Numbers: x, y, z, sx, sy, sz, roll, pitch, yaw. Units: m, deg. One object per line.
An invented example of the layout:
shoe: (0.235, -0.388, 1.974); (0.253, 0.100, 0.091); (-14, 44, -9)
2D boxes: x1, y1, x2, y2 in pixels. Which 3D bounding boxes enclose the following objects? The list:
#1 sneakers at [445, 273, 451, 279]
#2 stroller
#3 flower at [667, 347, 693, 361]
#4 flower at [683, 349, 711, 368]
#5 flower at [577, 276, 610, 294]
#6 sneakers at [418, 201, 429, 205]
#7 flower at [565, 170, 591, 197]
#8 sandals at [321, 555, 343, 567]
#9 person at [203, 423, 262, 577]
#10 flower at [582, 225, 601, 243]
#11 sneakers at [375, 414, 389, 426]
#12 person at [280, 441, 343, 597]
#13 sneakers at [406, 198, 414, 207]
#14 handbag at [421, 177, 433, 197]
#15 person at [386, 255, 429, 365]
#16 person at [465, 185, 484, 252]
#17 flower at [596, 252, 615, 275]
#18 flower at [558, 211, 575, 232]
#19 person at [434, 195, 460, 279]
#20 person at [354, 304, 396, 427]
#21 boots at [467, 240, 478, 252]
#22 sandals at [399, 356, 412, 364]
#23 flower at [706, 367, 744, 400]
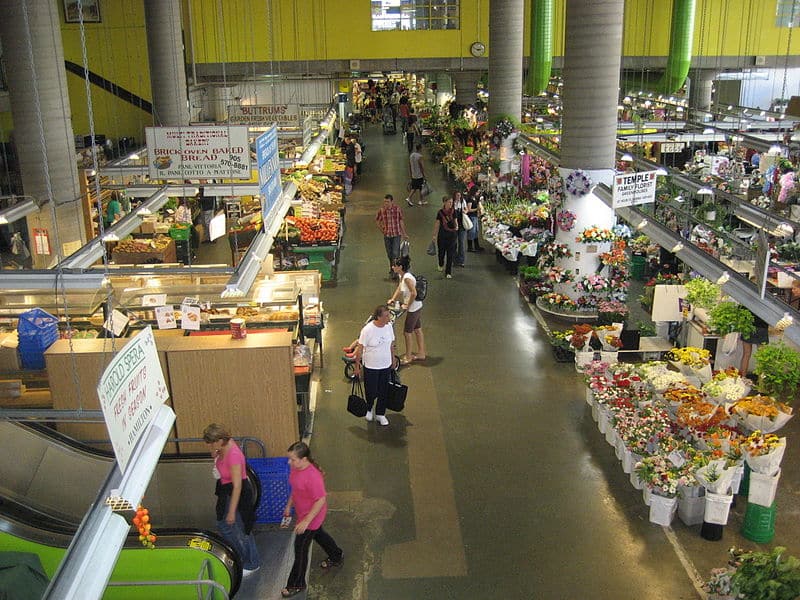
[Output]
sneakers: (1.023, -0.503, 12.487); (0.107, 0.088, 0.200); (-1, 0, 4)
stroller: (-0.553, 0.567, 8.142); (1.122, 1.327, 0.737); (-1, 13, -6)
flower: (3.596, 0.692, 7.462); (0.228, 0.153, 0.238); (4, 10, 38)
flower: (3.610, 0.694, 7.101); (0.271, 0.179, 0.260); (-2, 13, -20)
flower: (3.403, -0.289, 10.269); (0.333, 0.228, 0.346); (2, 11, 5)
sneakers: (0.753, -3.020, 18.296); (0.281, 0.125, 0.123); (-7, 19, -10)
flower: (3.103, -2.001, 10.148); (0.401, 0.420, 0.132); (18, 18, 32)
sandals: (-0.644, 2.450, 5.475); (0.206, 0.080, 0.084); (2, 15, -7)
person: (-1.494, 1.786, 5.226); (0.338, 1.501, 0.303); (-9, 19, -20)
flower: (3.372, -1.140, 10.217); (0.274, 0.181, 0.270); (-18, 16, -34)
sneakers: (-0.234, 1.557, 7.617); (0.081, 0.086, 0.209); (-4, 3, -22)
person: (-0.839, 1.826, 5.247); (0.567, 1.444, 0.699); (-5, 18, -8)
sneakers: (0.320, -3.056, 18.115); (0.111, 0.243, 0.343); (8, 37, 16)
handbag: (0.807, -3.463, 18.068); (0.275, 0.382, 0.727); (-2, 18, 1)
person: (0.110, 0.219, 9.385); (0.700, 1.970, 0.724); (5, 44, 5)
person: (1.789, -1.880, 14.027); (0.589, 1.907, 0.614); (1, 48, 8)
flower: (3.609, -0.619, 10.221); (0.272, 0.452, 0.286); (4, 19, 19)
flower: (2.970, -1.398, 10.446); (0.148, 0.340, 0.325); (0, 6, -39)
person: (0.967, -1.293, 12.221); (0.437, 1.747, 0.873); (-1, 18, 4)
person: (-0.285, 0.821, 7.315); (0.477, 1.464, 0.407); (-2, 15, -21)
boots: (1.801, -1.300, 14.358); (0.322, 0.316, 0.159); (-7, 19, -8)
sandals: (0.089, 0.943, 9.089); (0.190, 0.195, 0.089); (2, 12, 2)
flower: (3.622, 0.942, 6.452); (0.353, 0.140, 0.353); (8, 33, 34)
